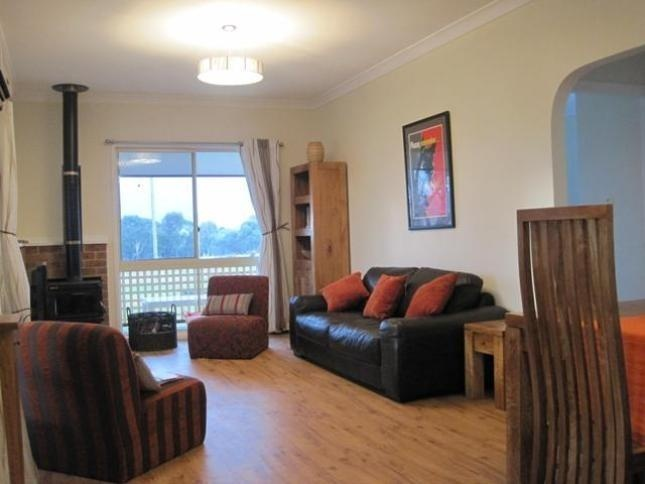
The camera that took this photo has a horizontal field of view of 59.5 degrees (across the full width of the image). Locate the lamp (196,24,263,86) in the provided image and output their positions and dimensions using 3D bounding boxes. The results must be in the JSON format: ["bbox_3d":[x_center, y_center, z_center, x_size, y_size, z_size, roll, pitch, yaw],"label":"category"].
[{"bbox_3d":[-0.771,-1.606,4.920,0.502,0.381,0.505,2,-2,-43],"label":"lamp"}]

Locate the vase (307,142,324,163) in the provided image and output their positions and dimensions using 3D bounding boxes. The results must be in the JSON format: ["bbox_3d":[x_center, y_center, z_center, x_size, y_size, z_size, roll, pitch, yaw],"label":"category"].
[{"bbox_3d":[-0.095,-1.073,6.906,0.242,0.242,0.248,1,0,-5],"label":"vase"}]

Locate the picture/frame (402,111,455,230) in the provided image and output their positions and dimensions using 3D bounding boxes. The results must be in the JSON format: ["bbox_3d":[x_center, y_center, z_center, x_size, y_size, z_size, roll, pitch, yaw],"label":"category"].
[{"bbox_3d":[1.025,-0.664,5.445,0.154,1.097,0.727,-3,4,-20],"label":"picture/frame"}]

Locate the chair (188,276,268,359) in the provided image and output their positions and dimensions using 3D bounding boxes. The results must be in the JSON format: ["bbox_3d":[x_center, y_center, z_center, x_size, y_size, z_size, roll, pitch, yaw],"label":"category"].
[{"bbox_3d":[-0.985,0.838,6.240,0.797,0.893,0.865,-2,-6,12],"label":"chair"}]

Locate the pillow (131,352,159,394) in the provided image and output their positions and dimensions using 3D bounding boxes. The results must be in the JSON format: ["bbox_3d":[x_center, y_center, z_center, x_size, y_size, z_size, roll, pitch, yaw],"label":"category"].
[{"bbox_3d":[-1.049,0.792,3.337,0.078,0.234,0.227,-22,51,-20],"label":"pillow"}]

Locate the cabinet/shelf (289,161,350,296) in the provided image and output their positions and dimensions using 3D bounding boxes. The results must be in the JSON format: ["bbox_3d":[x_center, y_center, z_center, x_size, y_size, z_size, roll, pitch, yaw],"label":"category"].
[{"bbox_3d":[0.078,-0.513,7.205,0.466,1.958,0.708,-9,-33,-1],"label":"cabinet/shelf"}]

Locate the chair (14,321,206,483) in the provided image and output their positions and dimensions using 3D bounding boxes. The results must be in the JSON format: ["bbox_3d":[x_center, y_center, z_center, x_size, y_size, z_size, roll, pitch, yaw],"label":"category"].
[{"bbox_3d":[-1.376,0.877,3.559,0.867,0.944,0.950,-2,-3,31],"label":"chair"}]
